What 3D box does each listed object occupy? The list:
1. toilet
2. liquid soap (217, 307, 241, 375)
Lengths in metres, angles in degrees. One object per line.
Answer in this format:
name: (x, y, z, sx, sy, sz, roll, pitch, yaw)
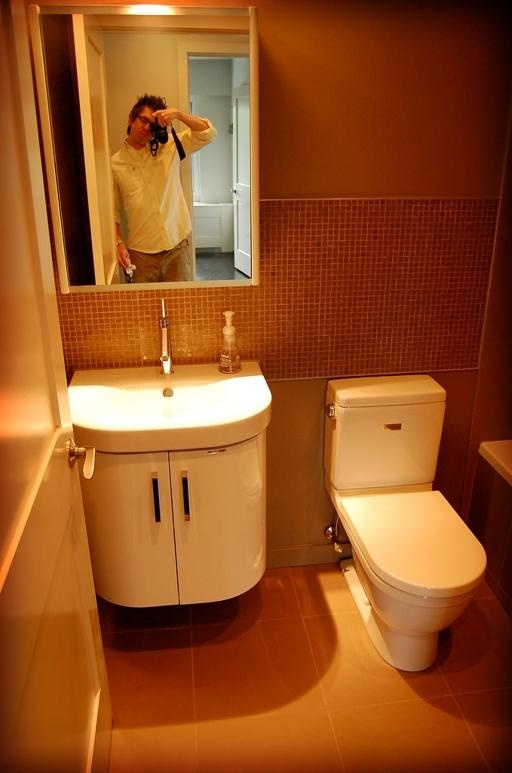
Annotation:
toilet: (0.448, 0.429, 1.697, 0.237, 0.760, 0.567, -5, 21, -8)
liquid soap: (-0.087, -0.149, 1.723, 0.068, 0.177, 0.123, -4, 21, -4)
